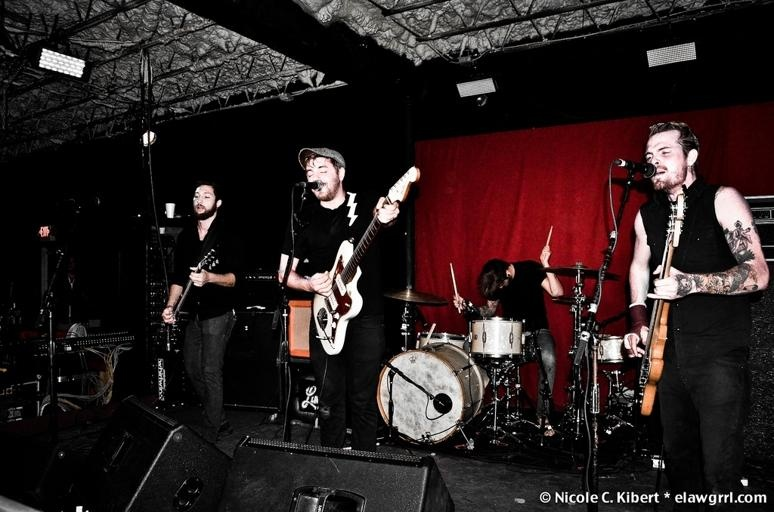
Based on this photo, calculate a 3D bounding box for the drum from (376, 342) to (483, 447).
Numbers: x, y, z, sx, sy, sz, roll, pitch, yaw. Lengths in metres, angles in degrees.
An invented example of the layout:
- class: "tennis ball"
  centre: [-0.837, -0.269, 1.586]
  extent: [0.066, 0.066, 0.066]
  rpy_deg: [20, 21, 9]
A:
- class: "drum"
  centre: [0.477, 1.523, 7.090]
  extent: [1.121, 1.073, 0.863]
  rpy_deg: [2, 4, 22]

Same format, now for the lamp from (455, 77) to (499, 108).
- class: "lamp"
  centre: [1.153, -2.065, 8.126]
  extent: [0.513, 0.290, 0.655]
  rpy_deg: [2, -10, 7]

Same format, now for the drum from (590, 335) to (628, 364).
- class: "drum"
  centre: [2.480, 1.024, 7.026]
  extent: [0.253, 0.323, 0.546]
  rpy_deg: [-1, -10, 23]

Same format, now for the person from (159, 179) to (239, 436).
- class: "person"
  centre: [-2.027, 0.546, 6.808]
  extent: [0.719, 2.716, 0.562]
  rpy_deg: [-1, -10, 25]

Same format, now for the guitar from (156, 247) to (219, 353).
- class: "guitar"
  centre: [-2.033, 0.526, 6.898]
  extent: [0.203, 1.286, 0.494]
  rpy_deg: [23, -7, -43]

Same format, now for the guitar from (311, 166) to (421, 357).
- class: "guitar"
  centre: [-0.355, 0.279, 5.666]
  extent: [0.717, 1.207, 0.179]
  rpy_deg: [-4, -11, 36]

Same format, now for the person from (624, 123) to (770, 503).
- class: "person"
  centre: [2.412, 0.450, 4.970]
  extent: [0.999, 3.039, 0.683]
  rpy_deg: [0, -10, 20]

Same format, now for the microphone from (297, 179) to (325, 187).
- class: "microphone"
  centre: [-0.683, -0.644, 5.722]
  extent: [0.294, 0.082, 0.076]
  rpy_deg: [-1, 5, -31]

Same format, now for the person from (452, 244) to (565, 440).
- class: "person"
  centre: [1.531, 1.113, 7.783]
  extent: [1.260, 2.351, 0.906]
  rpy_deg: [-9, 6, 2]

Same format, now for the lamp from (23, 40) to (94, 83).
- class: "lamp"
  centre: [-4.618, -2.794, 8.981]
  extent: [0.814, 0.467, 0.453]
  rpy_deg: [11, -12, -40]
